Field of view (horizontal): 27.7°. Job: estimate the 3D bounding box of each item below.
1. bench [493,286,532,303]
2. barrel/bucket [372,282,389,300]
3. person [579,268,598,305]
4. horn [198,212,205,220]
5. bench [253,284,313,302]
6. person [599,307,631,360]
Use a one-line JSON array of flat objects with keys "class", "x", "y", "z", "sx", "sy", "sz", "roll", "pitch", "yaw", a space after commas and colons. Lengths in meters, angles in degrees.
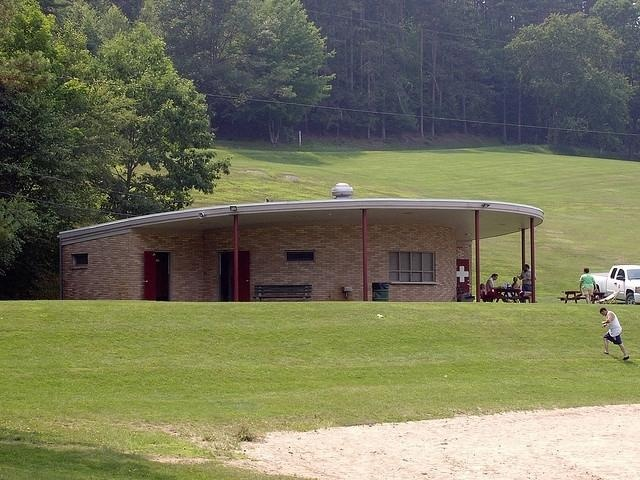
[{"class": "bench", "x": 11.554, "y": 3.352, "z": 77.125, "sx": 2.234, "sy": 0.909, "sz": 1.988, "roll": -2, "pitch": -3, "yaw": 29}, {"class": "barrel/bucket", "x": 3.567, "y": 3.089, "z": 75.998, "sx": 1.067, "sy": 1.029, "sz": 0.483, "roll": 0, "pitch": -3, "yaw": -8}, {"class": "person", "x": 16.056, "y": 2.838, "z": 78.066, "sx": 0.740, "sy": 2.025, "sz": 1.565, "roll": -1, "pitch": -3, "yaw": 9}, {"class": "horn", "x": -6.665, "y": -1.267, "z": 73.151, "sx": 0.319, "sy": 0.288, "sz": 0.323, "roll": -14, "pitch": -12, "yaw": 10}, {"class": "bench", "x": -2.126, "y": 3.137, "z": 75.460, "sx": 3.273, "sy": 0.963, "sz": 1.258, "roll": 0, "pitch": -3, "yaw": 0}, {"class": "person", "x": 15.642, "y": 5.170, "z": 69.187, "sx": 1.409, "sy": 1.153, "sz": 2.498, "roll": 5, "pitch": 40, "yaw": 17}]
